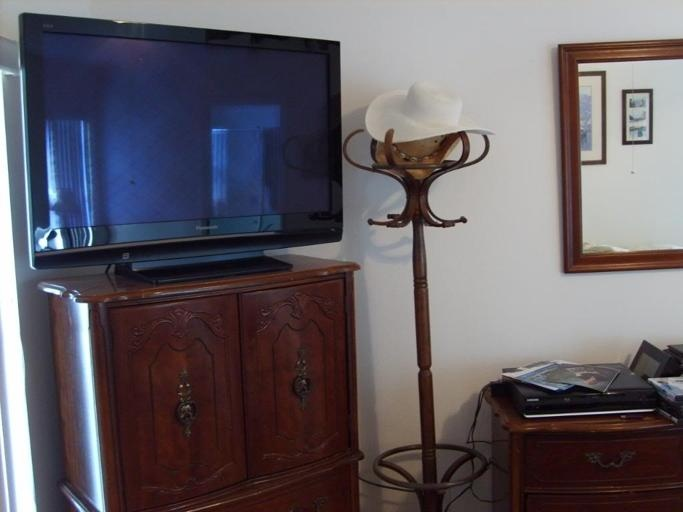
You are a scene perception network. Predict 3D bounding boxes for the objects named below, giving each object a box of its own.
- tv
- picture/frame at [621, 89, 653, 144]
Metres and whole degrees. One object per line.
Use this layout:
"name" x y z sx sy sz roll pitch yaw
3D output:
"tv" -0.656 -0.395 2.474 1.081 0.765 0.177 -5 11 -25
"picture/frame" 1.407 -0.652 3.033 0.020 0.255 0.143 -19 19 -36
